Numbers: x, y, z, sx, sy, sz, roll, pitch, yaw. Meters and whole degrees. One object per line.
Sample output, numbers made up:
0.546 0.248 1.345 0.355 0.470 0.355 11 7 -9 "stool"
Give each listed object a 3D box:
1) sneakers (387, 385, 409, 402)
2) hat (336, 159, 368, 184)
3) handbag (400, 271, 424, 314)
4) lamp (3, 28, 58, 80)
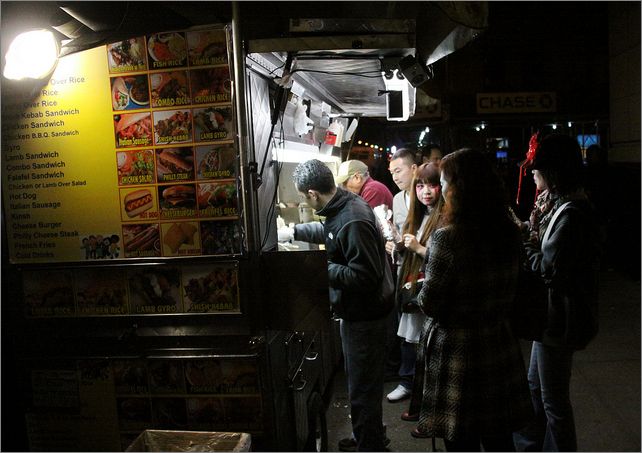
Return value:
0.857 1.796 5.839 0.281 0.128 0.109 -1 -8 -33 "sneakers"
0.382 -0.698 6.757 0.386 0.235 0.271 -7 7 15 "hat"
0.879 0.640 5.263 0.134 0.394 0.277 8 -12 -33 "handbag"
-2.076 -1.232 3.896 0.387 0.303 0.172 -3 3 -6 "lamp"
